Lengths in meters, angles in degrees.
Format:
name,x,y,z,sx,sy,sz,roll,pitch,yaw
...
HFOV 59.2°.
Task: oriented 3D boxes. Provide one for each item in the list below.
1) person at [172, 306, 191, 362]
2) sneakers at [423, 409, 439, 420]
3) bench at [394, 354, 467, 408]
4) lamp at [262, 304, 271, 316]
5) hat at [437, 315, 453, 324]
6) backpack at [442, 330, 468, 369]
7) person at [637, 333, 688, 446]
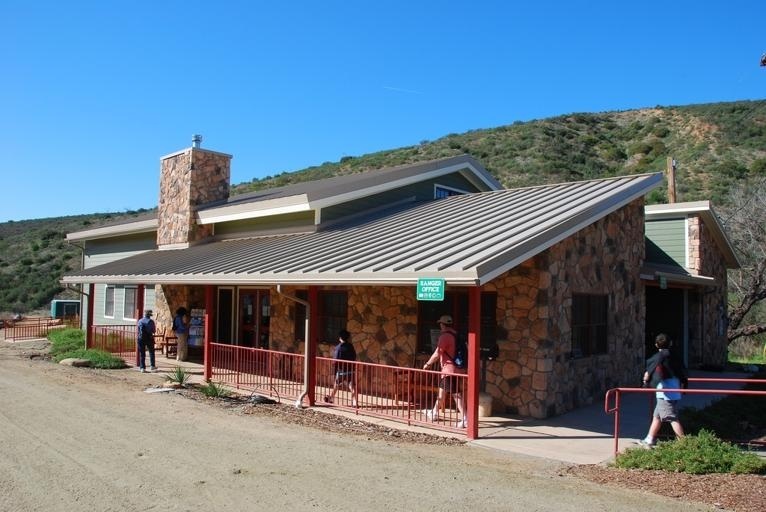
name,x,y,z,sx,sy,sz,roll,pitch,yaw
person,-7.594,2.909,25.283,0.533,2.013,1.277,2,-5,-17
sneakers,1.213,4.040,17.156,0.178,0.185,0.456,3,-3,-15
bench,0.971,3.510,18.550,0.677,1.057,1.608,-14,-1,-9
lamp,-3.991,1.820,22.964,0.188,0.341,0.347,13,-20,-41
hat,1.548,1.623,17.302,0.309,0.187,0.233,-2,-3,31
backpack,1.680,2.408,17.144,0.482,0.808,0.700,-3,-14,-36
person,6.569,3.121,15.784,0.974,2.565,1.548,-2,-6,24
